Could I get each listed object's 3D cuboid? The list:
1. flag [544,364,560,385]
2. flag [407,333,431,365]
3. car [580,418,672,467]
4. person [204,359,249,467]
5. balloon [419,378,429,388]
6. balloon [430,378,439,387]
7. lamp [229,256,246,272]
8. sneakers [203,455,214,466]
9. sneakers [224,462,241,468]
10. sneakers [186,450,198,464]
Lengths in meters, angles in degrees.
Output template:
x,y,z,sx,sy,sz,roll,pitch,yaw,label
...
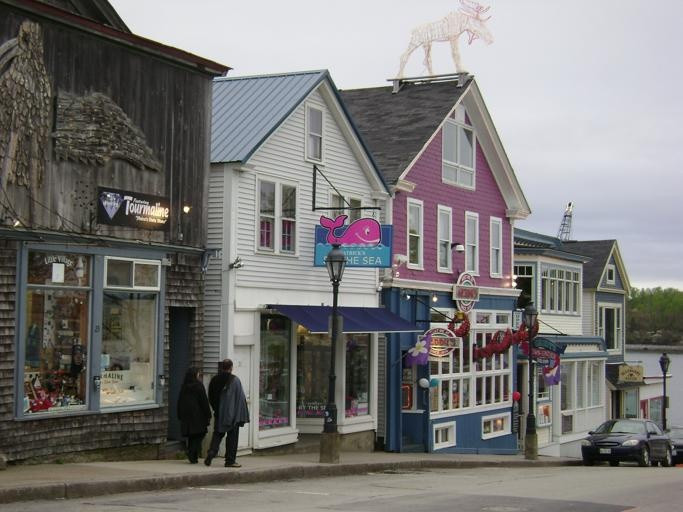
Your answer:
x,y,z,sx,sy,sz,roll,pitch,yaw,label
7.172,4.036,47.785,0.699,1.023,0.161,-2,-6,27,flag
2.296,2.782,41.330,0.571,0.850,0.717,5,-10,-31,flag
8.899,5.793,43.339,2.610,1.443,1.738,7,-11,-35,car
-2.634,3.631,32.200,0.954,2.492,0.638,1,-8,-5,person
2.455,3.778,41.512,0.302,0.294,0.625,0,-9,2,balloon
2.754,3.829,41.955,0.157,0.190,0.323,4,11,32,balloon
-2.649,0.206,35.054,0.294,0.401,0.913,-1,3,-3,lamp
-3.038,4.685,31.910,0.181,0.258,0.487,1,-9,-5,sneakers
-2.507,4.811,32.056,0.230,0.111,0.135,0,-1,-18,sneakers
-3.495,4.674,32.424,0.259,0.286,0.223,0,-2,17,sneakers
